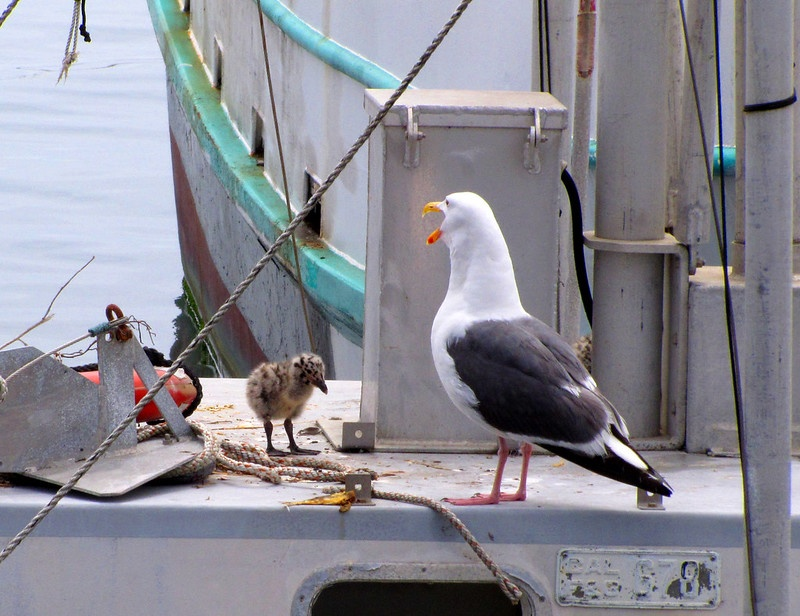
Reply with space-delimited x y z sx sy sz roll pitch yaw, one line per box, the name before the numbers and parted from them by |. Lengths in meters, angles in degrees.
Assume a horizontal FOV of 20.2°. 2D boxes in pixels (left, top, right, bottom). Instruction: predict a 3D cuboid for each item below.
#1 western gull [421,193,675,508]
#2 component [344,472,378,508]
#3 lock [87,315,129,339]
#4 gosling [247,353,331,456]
western gull | 0.808 0.267 12.457 1.111 1.788 1.319 1 1 1
component | -0.214 0.982 12.156 0.144 0.168 0.153 -2 3 -2
lock | -1.616 0.111 12.676 0.272 0.096 0.086 -13 -14 -34
gosling | -0.683 0.545 13.130 0.564 0.715 0.400 -4 -4 26
